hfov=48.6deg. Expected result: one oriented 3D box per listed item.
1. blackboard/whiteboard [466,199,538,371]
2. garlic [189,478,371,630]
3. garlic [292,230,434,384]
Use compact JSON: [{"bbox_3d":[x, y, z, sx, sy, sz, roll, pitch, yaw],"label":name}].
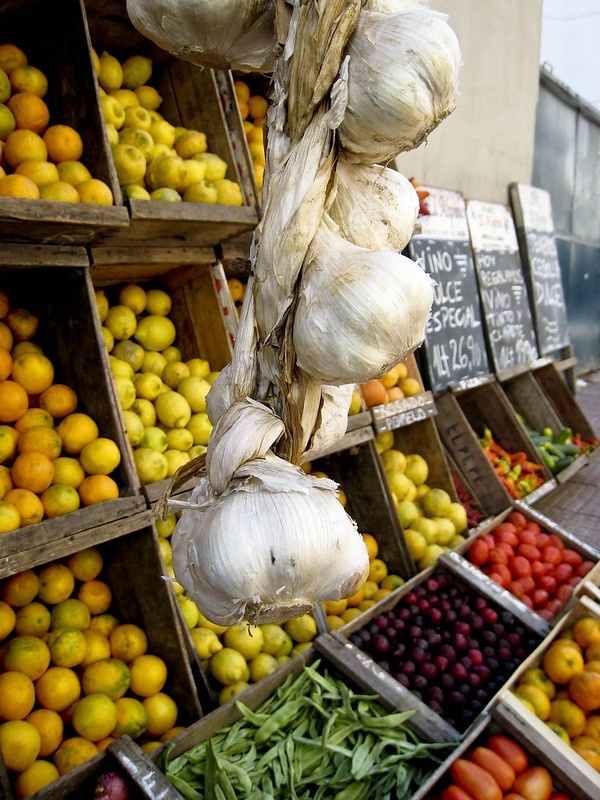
[{"bbox_3d":[1.287,-0.694,4.226,0.063,1.351,1.226,-14,0,26],"label":"blackboard/whiteboard"},{"bbox_3d":[-0.043,0.209,0.917,0.275,0.176,0.256,-8,-15,-24],"label":"garlic"},{"bbox_3d":[0.075,-0.121,0.827,0.173,0.198,0.128,0,19,20],"label":"garlic"}]
